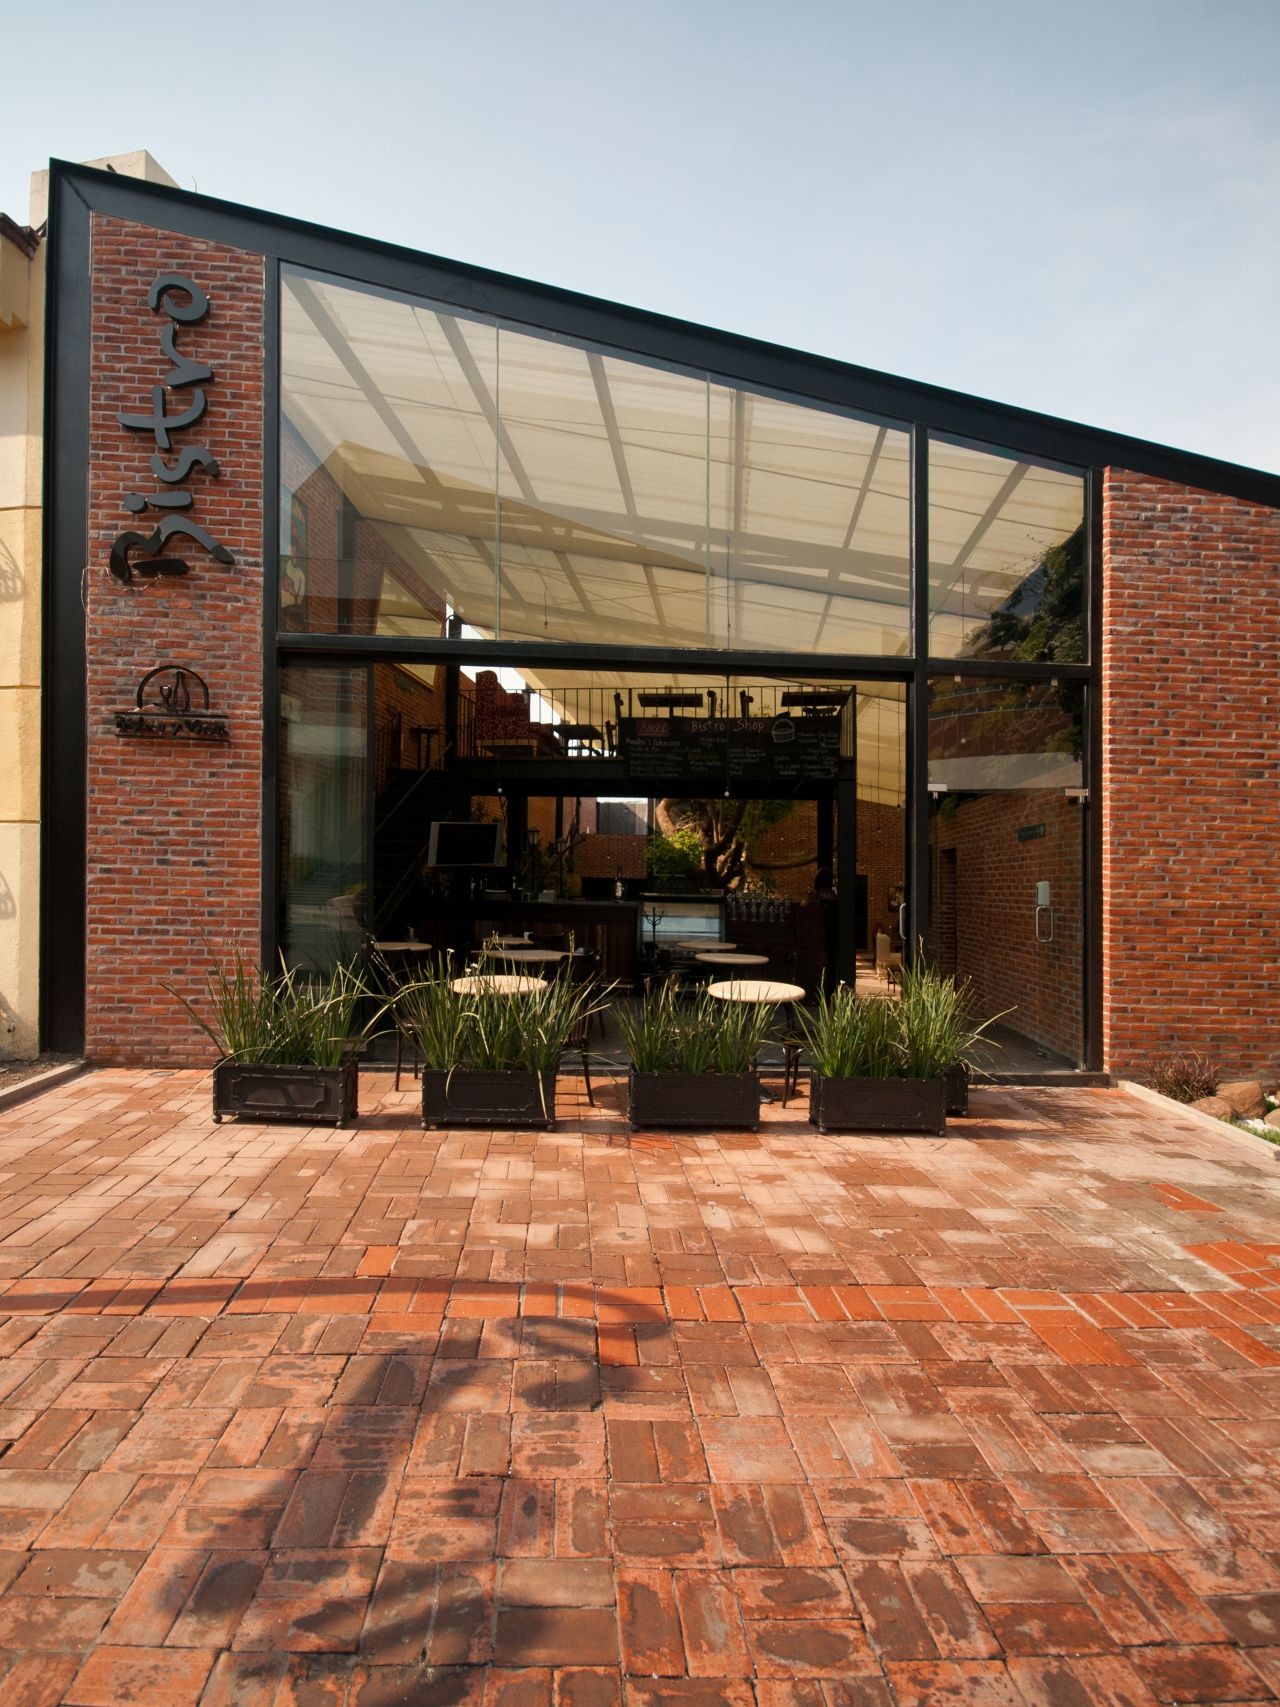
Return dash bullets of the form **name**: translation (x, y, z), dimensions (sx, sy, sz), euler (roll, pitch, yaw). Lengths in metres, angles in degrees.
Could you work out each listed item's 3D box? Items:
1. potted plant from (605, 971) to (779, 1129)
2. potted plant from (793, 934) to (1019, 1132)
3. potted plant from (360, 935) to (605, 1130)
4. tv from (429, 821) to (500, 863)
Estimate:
- **potted plant**: translation (0.222, 0.937, 6.236), dimensions (0.636, 0.626, 0.628), euler (0, -1, -8)
- **potted plant**: translation (1.211, 0.852, 6.334), dimensions (0.868, 0.704, 0.706), euler (0, -3, 2)
- **potted plant**: translation (-0.693, 0.885, 6.014), dimensions (0.789, 0.750, 0.500), euler (0, -2, 3)
- **tv**: translation (-1.443, -0.125, 10.725), dimensions (0.604, 0.422, 0.331), euler (0, -33, 0)
